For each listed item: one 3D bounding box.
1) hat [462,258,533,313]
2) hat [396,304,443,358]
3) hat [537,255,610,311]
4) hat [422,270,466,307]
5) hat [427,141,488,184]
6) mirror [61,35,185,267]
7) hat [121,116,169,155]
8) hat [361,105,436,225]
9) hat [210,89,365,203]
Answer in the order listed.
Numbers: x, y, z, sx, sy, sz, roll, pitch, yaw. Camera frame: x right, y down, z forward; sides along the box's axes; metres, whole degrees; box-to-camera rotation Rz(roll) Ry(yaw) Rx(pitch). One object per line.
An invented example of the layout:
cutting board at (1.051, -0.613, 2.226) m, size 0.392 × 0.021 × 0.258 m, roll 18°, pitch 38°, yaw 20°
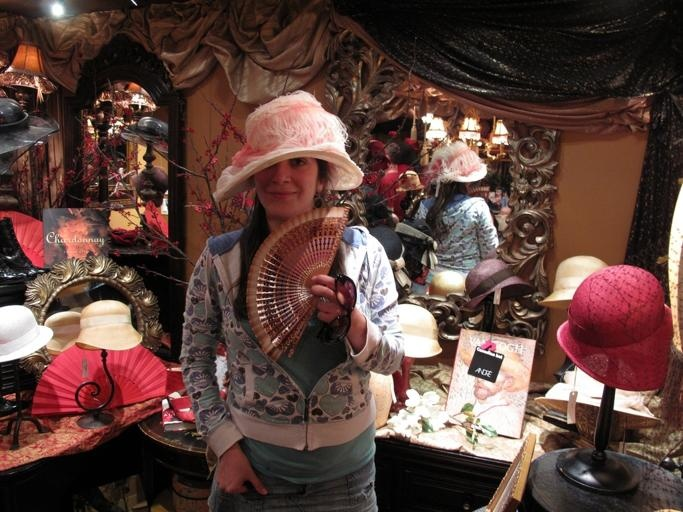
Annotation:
hat at (0.786, 0.145, 2.462) m, size 0.331 × 0.251 × 0.306 m, roll 3°, pitch 5°, yaw 14°
hat at (0.356, 0.351, 2.380) m, size 0.251 × 0.152 × 0.299 m, roll 3°, pitch 0°, yaw -11°
hat at (1.025, 0.098, 2.216) m, size 0.275 × 0.172 × 0.296 m, roll 3°, pitch -2°, yaw 28°
hat at (0.578, 0.149, 2.718) m, size 0.194 × 0.161 × 0.164 m, roll -23°, pitch 4°, yaw 39°
hat at (0.606, -0.478, 2.609) m, size 0.244 × 0.091 × 0.230 m, roll 1°, pitch 41°, yaw 6°
mirror at (-1.525, -0.883, 3.297) m, size 0.924 × 1.112 × 0.104 m, roll 4°, pitch 6°, yaw 21°
hat at (-1.289, -0.789, 3.221) m, size 0.361 × 0.243 × 0.072 m, roll 4°, pitch 6°, yaw 21°
hat at (0.309, -0.494, 2.692) m, size 0.383 × 0.505 × 0.238 m, roll 2°, pitch 7°, yaw 39°
hat at (-0.198, -0.277, 1.559) m, size 0.407 × 0.217 × 0.363 m, roll -9°, pitch 9°, yaw 35°
